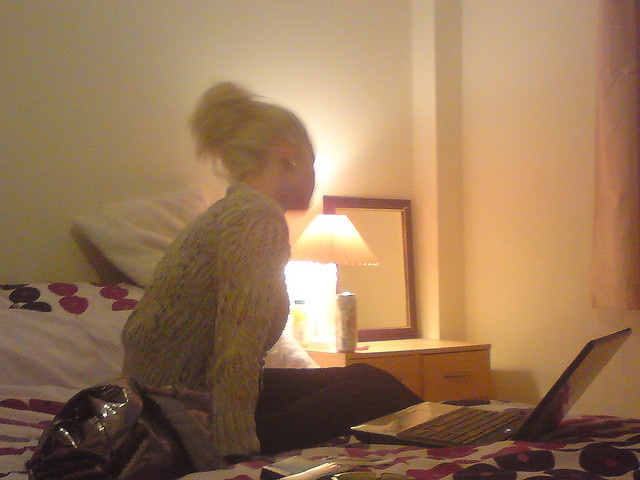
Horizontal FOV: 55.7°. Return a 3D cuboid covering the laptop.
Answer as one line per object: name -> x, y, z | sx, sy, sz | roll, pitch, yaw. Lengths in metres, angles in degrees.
laptop -> 0.357, 0.352, 1.337 | 0.464, 0.112, 0.385 | -4, -6, 25

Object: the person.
person -> -0.112, 0.047, 1.342 | 0.275, 0.789, 0.538 | -1, -2, 44
